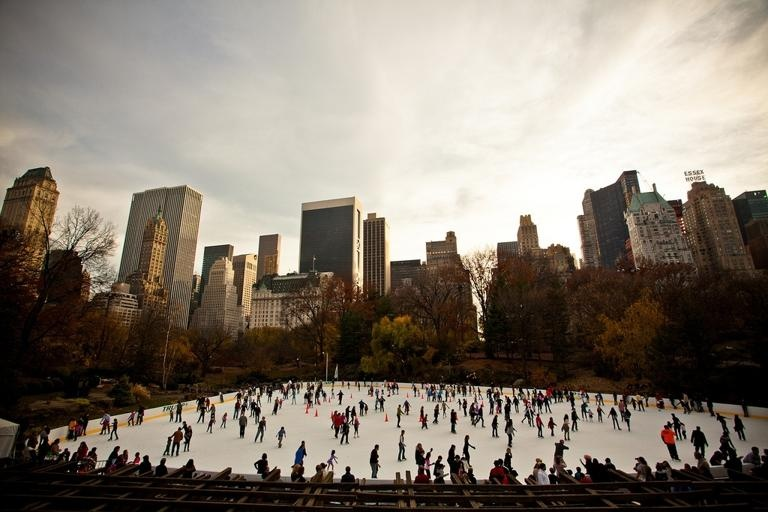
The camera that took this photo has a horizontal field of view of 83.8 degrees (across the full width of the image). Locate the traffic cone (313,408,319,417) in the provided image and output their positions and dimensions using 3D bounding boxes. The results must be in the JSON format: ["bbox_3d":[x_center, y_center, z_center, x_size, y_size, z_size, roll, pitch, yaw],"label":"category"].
[{"bbox_3d":[-6.469,15.082,41.007,0.562,0.799,0.559,-5,-12,14],"label":"traffic cone"}]
